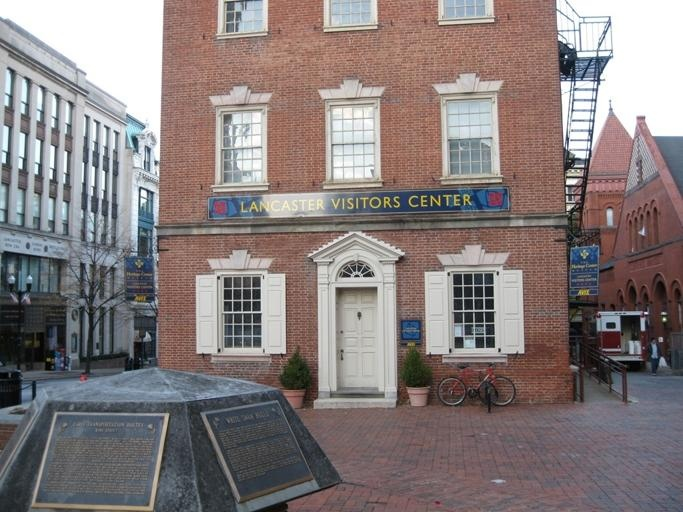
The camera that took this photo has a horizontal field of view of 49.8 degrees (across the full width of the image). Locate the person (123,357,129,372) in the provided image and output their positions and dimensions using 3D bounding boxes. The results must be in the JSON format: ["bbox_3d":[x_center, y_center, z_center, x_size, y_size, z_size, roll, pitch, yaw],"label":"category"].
[{"bbox_3d":[-8.811,4.414,30.164,0.152,0.487,1.278,2,0,-18],"label":"person"}]

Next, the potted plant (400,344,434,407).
[{"bbox_3d":[1.994,3.217,19.656,0.807,1.533,0.792,-9,-11,34],"label":"potted plant"}]

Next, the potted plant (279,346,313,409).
[{"bbox_3d":[-1.267,3.329,19.964,0.771,1.511,0.797,-2,-8,22],"label":"potted plant"}]

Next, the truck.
[{"bbox_3d":[14.016,4.235,36.519,2.566,2.567,4.262,-1,-2,8],"label":"truck"}]
